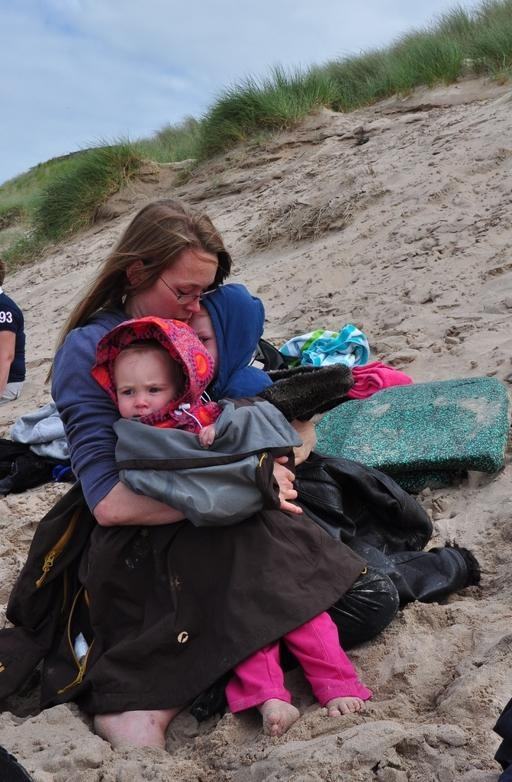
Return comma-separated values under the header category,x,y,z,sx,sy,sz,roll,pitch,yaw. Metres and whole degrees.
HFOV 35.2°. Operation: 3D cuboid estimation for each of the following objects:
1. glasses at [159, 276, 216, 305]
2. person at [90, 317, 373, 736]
category,x,y,z,sx,sy,sz,roll,pitch,yaw
glasses,-0.213,-0.282,2.325,0.083,0.024,0.081,38,22,21
person,-0.047,0.310,2.080,0.748,0.984,0.394,10,17,42
